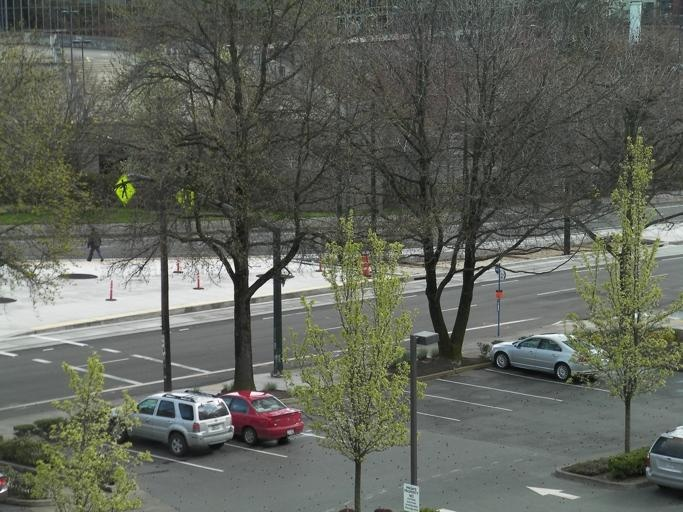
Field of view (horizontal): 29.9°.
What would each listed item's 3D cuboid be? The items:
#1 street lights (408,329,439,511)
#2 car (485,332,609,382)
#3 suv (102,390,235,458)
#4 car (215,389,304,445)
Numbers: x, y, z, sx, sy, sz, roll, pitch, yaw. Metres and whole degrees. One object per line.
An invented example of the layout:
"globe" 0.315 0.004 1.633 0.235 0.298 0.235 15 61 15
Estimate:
"street lights" 2.314 4.936 40.271 0.573 4.793 0.903 0 -2 -9
"car" 8.753 4.149 54.326 4.807 1.766 2.131 8 7 39
"suv" -6.343 5.981 47.038 4.695 2.153 2.327 6 5 33
"car" -3.223 5.882 46.989 3.138 1.144 1.457 11 11 44
